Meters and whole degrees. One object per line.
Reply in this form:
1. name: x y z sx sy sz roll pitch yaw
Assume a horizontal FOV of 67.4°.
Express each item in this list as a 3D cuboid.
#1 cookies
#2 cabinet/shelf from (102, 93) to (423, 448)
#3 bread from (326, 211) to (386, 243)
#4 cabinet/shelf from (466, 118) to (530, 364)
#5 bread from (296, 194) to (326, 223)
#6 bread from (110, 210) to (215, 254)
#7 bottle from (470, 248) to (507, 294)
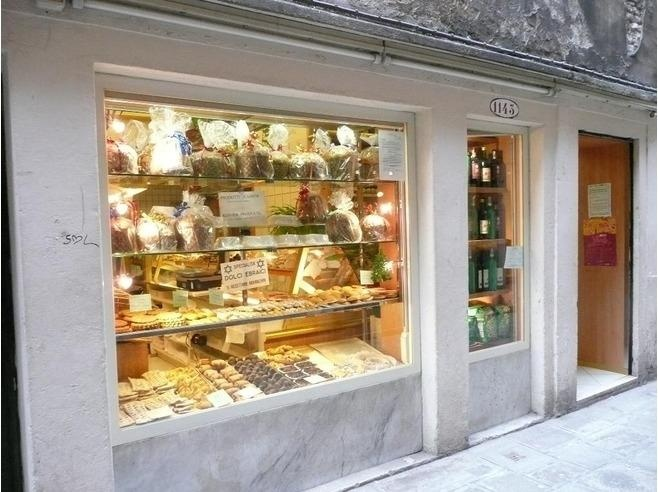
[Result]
1. cookies: -1.177 1.005 3.260 0.358 0.094 0.362 -3 12 -41
2. cabinet/shelf: -0.545 0.158 3.549 3.091 2.334 1.026 -5 8 -32
3. bread: 0.225 -0.156 3.962 0.401 0.171 0.248 -3 8 -24
4. cabinet/shelf: 1.510 -0.050 4.815 0.591 2.272 0.584 -5 8 -40
5. bread: -0.127 -0.290 3.817 0.233 0.198 0.227 0 1 2
6. bread: -1.107 -0.095 3.297 0.675 0.279 0.108 -5 9 -31
7. bottle: 1.478 0.228 4.775 0.312 0.420 0.332 2 5 0
